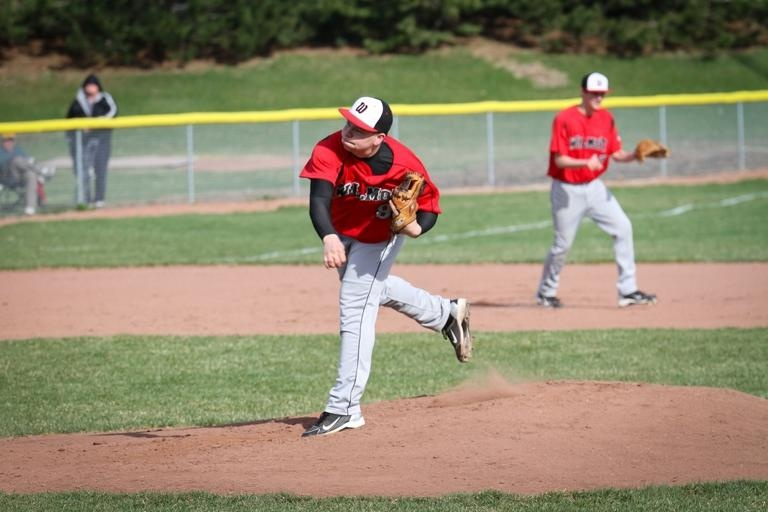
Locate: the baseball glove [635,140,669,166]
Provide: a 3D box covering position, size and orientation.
[{"bbox_3d":[3.238,-1.225,15.574,0.425,0.205,0.240,6,-4,-6],"label":"baseball glove"}]

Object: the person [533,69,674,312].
[{"bbox_3d":[2.540,-0.750,15.842,1.462,2.877,1.012,-3,6,6],"label":"person"}]

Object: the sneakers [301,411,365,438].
[{"bbox_3d":[-0.493,1.740,13.646,0.722,0.278,0.229,-4,-2,-8],"label":"sneakers"}]

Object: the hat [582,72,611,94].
[{"bbox_3d":[2.540,-2.051,15.632,0.298,0.246,0.389,-3,6,6],"label":"hat"}]

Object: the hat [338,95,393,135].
[{"bbox_3d":[-0.116,-1.429,13.385,0.479,0.245,0.355,23,8,-31],"label":"hat"}]

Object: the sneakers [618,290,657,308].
[{"bbox_3d":[3.126,0.529,16.123,0.531,0.205,0.184,-3,4,-5],"label":"sneakers"}]

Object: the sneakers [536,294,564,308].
[{"bbox_3d":[2.107,0.570,16.500,0.371,0.144,0.130,4,11,11],"label":"sneakers"}]

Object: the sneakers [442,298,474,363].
[{"bbox_3d":[0.770,0.746,14.281,0.298,0.597,0.206,-10,48,-1],"label":"sneakers"}]

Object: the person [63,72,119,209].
[{"bbox_3d":[-3.546,-1.376,16.026,0.621,1.533,0.976,-5,6,-11],"label":"person"}]

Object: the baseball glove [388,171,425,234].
[{"bbox_3d":[0.232,-0.541,13.459,0.356,0.574,0.226,21,-8,1],"label":"baseball glove"}]
